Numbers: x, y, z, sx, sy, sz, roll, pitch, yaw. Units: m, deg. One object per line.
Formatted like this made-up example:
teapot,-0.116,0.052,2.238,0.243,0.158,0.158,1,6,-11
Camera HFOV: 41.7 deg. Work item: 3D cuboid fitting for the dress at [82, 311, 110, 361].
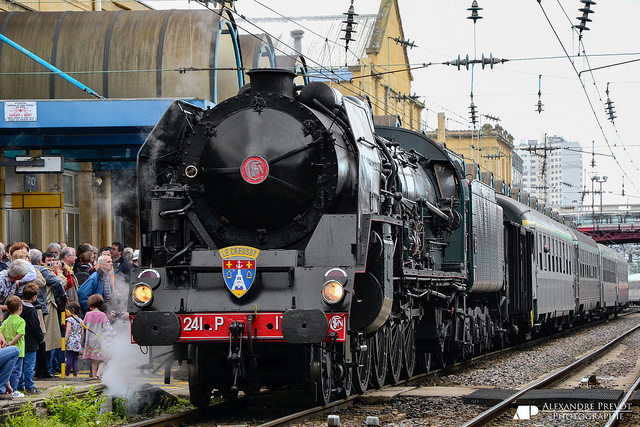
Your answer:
dress,-4.268,2.350,16.041,0.517,0.947,0.283,0,-6,-4

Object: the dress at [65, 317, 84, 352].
dress,-4.811,2.387,16.447,0.299,0.689,0.394,1,-6,-17

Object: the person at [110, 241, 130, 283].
person,-4.352,1.083,18.278,0.416,1.142,0.621,5,-16,-30

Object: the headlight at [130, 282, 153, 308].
headlight,-3.082,1.421,14.539,0.431,0.401,0.137,-26,-6,4
